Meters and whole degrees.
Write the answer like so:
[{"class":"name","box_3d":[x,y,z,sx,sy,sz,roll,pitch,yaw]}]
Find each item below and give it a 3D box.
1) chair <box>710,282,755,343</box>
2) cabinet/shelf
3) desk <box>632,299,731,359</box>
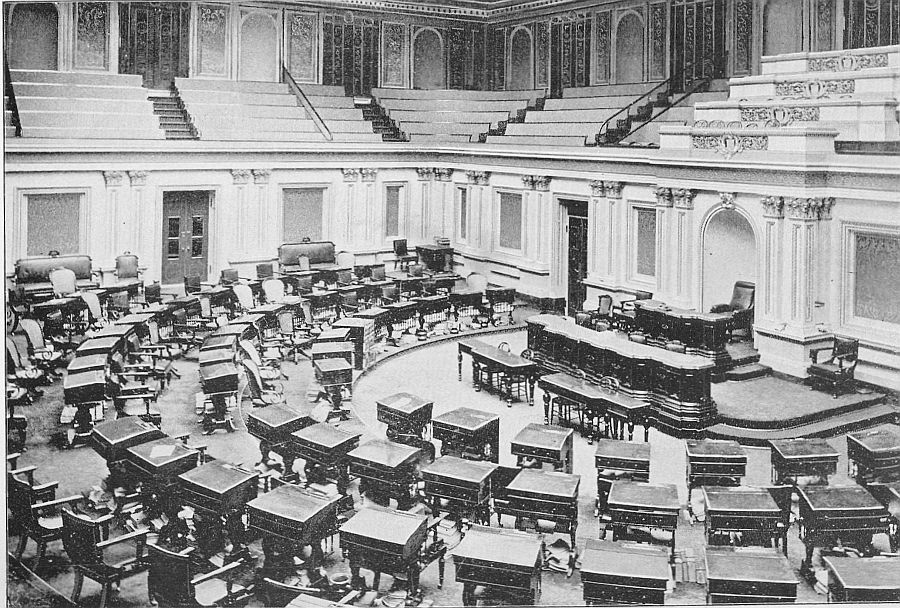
[{"class":"chair","box_3d":[6.665,0.169,20.749,1.055,1.200,1.040,7,18,38]},{"class":"cabinet/shelf","box_3d":[3.650,1.524,19.658,1.471,1.512,6.030,-7,10,-24]},{"class":"desk","box_3d":[5.385,0.493,19.582,1.058,0.982,2.856,-9,14,-32]}]
